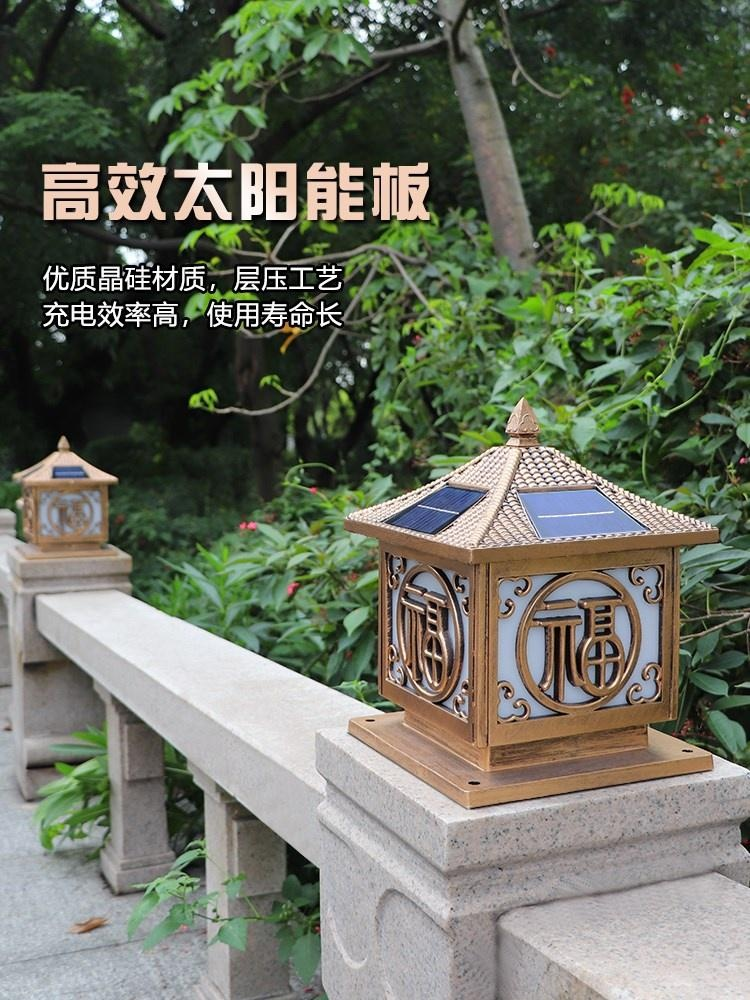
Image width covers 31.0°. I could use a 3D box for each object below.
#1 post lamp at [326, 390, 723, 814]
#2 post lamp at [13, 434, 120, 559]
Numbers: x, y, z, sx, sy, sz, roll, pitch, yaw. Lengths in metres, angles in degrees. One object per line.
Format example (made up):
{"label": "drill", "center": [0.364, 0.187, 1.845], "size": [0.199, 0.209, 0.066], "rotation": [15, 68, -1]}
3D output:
{"label": "post lamp", "center": [0.229, 0.137, 2.113], "size": [0.465, 0.578, 0.396], "rotation": [-4, 6, -20]}
{"label": "post lamp", "center": [-1.078, -0.011, 4.694], "size": [0.333, 0.392, 0.263], "rotation": [-3, 6, -13]}
